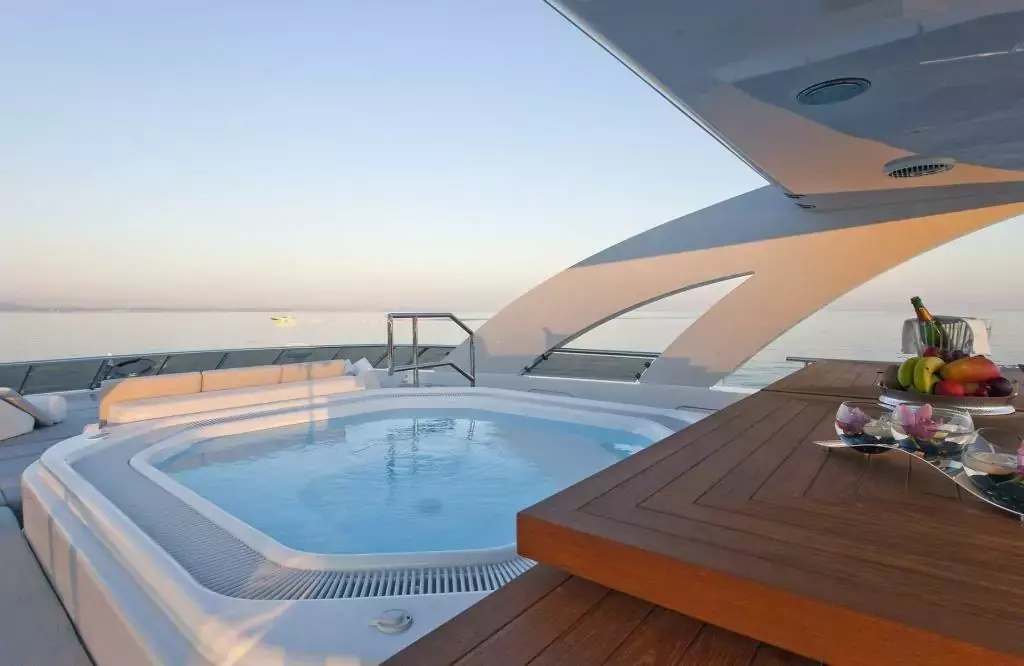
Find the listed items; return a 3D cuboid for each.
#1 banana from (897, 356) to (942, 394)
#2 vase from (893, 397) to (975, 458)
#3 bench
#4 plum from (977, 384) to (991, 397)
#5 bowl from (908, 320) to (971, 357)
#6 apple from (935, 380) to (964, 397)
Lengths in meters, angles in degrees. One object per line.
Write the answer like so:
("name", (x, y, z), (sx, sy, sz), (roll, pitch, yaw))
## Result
("banana", (1.519, 0.163, 2.057), (0.116, 0.052, 0.179), (-11, 5, 35))
("vase", (1.183, 0.286, 1.629), (0.257, 0.100, 0.188), (2, 4, 15))
("bench", (-2.267, 0.508, 4.737), (2.106, 0.303, 0.354), (-4, 26, -45))
("plum", (1.716, 0.213, 2.015), (0.056, 0.042, 0.022), (-3, -11, 25))
("bowl", (1.929, 0.018, 2.454), (0.297, 0.151, 0.294), (0, 1, 0))
("apple", (1.586, 0.207, 2.006), (0.088, 0.036, 0.078), (-7, 5, 6))
